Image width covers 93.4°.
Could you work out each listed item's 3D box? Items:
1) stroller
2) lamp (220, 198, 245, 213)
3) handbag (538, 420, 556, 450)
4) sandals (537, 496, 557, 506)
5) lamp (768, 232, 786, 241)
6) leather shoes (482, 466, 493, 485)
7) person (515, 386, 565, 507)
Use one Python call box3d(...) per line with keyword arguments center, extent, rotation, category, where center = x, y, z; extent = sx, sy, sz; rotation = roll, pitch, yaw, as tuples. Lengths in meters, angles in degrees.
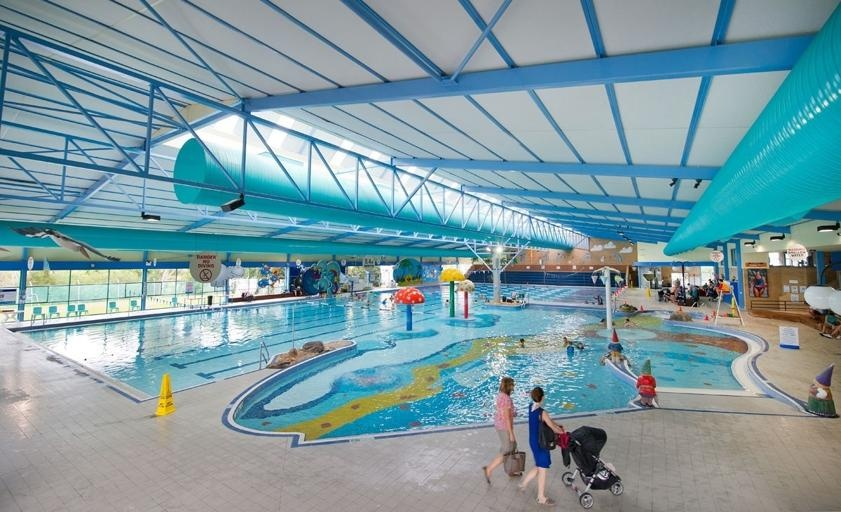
box3d(center=(3.669, 4.575, 8.731), extent=(1.245, 1.619, 0.806), rotation=(-5, -5, 22), category="stroller")
box3d(center=(-6.255, -1.745, 13.196), extent=(0.893, 0.357, 0.301), rotation=(-4, -5, 21), category="lamp")
box3d(center=(2.753, 3.882, 8.586), extent=(0.450, 0.606, 0.104), rotation=(-2, -6, -17), category="handbag")
box3d(center=(2.708, 5.258, 8.484), extent=(0.306, 0.094, 0.167), rotation=(0, -1, 11), category="sandals")
box3d(center=(17.958, -0.987, 19.902), extent=(0.780, 0.312, 0.538), rotation=(0, 0, -42), category="lamp")
box3d(center=(1.508, 5.004, 9.046), extent=(0.169, 0.354, 0.249), rotation=(-4, -5, 4), category="leather shoes")
box3d(center=(2.621, 4.118, 8.781), extent=(1.011, 2.463, 0.704), rotation=(-5, -5, 8), category="person")
